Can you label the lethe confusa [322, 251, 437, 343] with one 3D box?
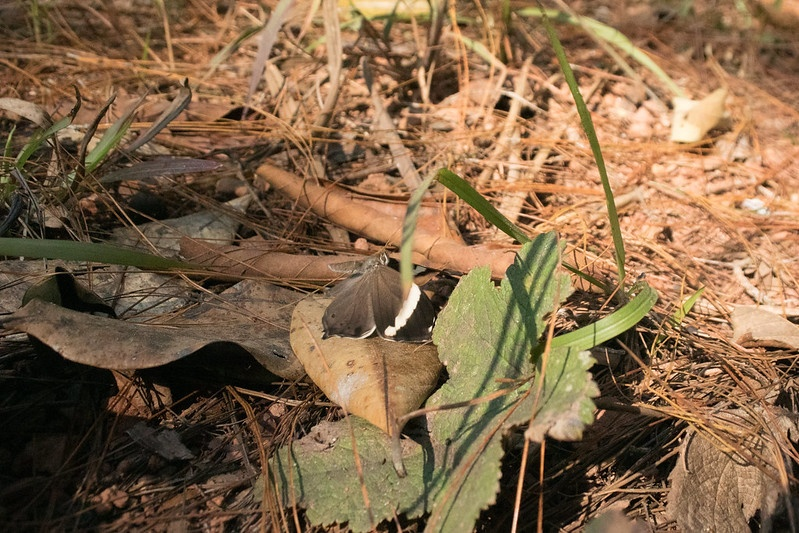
[{"bbox_3d":[-0.079,0.120,2.760,0.527,0.332,0.258,2,-28,35],"label":"lethe confusa"}]
